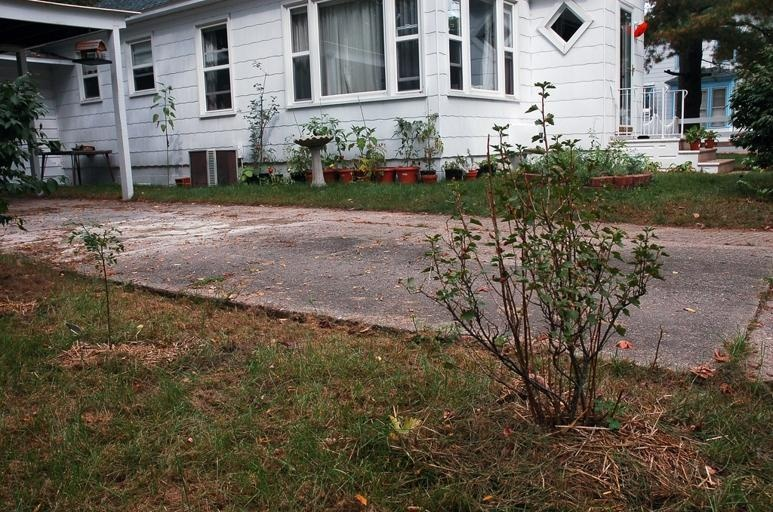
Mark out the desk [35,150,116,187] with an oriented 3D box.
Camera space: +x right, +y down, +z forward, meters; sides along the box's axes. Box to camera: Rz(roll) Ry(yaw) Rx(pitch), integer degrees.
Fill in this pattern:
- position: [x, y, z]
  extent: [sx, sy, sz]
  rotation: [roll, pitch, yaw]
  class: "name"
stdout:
- position: [-8.535, -2.452, 16.825]
  extent: [1.560, 1.042, 2.359]
  rotation: [-13, 18, -42]
  class: "desk"
